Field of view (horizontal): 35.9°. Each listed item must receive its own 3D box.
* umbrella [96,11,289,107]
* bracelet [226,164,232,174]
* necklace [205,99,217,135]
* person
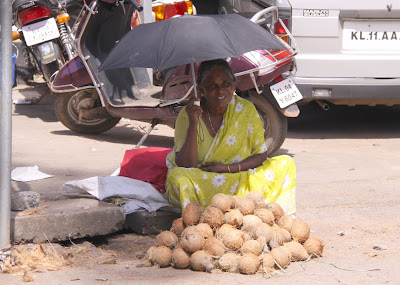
[{"bbox_3d":[-0.100,-0.884,5.378,1.603,0.457,0.559,-4,11,-8],"label":"umbrella"},{"bbox_3d":[0.267,0.250,5.773,0.033,0.074,0.031,-8,13,-20],"label":"bracelet"},{"bbox_3d":[0.102,-0.233,5.835,0.067,0.367,0.054,-25,11,-7],"label":"necklace"},{"bbox_3d":[0.297,-0.037,5.975,0.915,1.534,0.966,-1,4,-2],"label":"person"}]
